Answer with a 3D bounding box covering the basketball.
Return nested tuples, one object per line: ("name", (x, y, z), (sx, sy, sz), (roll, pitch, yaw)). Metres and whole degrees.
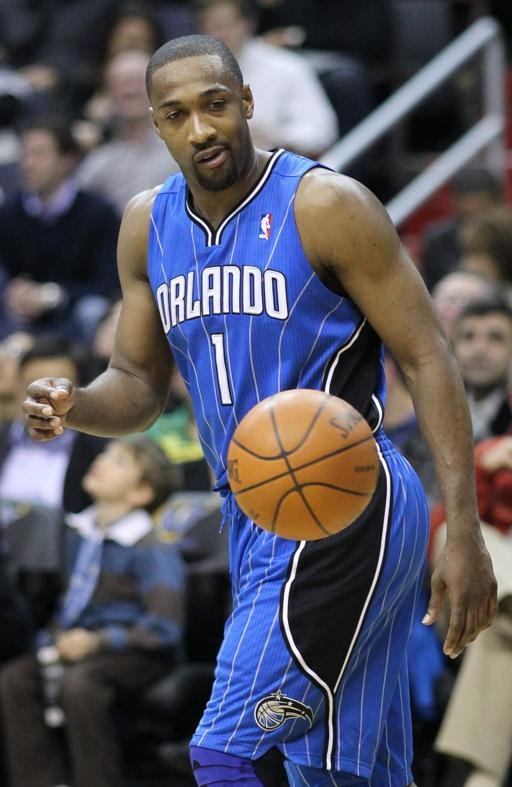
("basketball", (0.119, 0.116, 2.029), (0.335, 0.337, 0.302), (-2, 12, 23))
